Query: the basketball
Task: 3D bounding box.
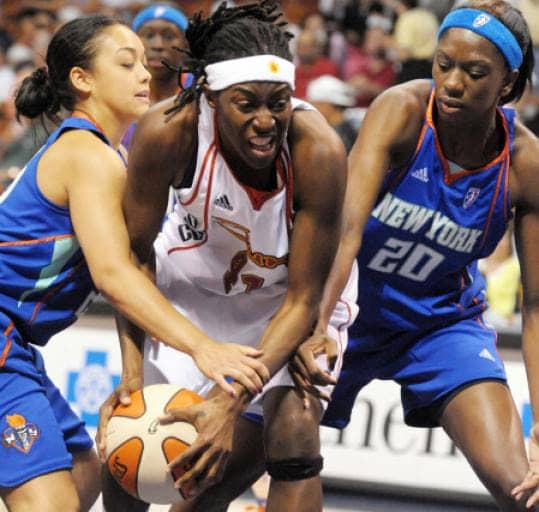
[{"bbox_3d":[-0.341,0.561,2.632,0.272,0.268,0.213,-1,27,-5],"label":"basketball"}]
